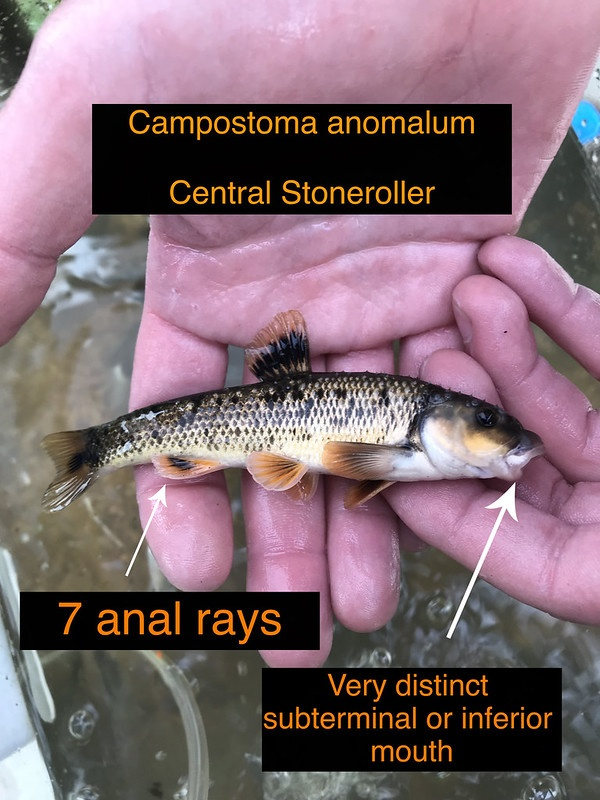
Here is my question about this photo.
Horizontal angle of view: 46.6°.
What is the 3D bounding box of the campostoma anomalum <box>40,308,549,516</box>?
[{"bbox_3d":[-0.030,0.042,1.640,1.150,0.217,0.376,-2,98,-7],"label":"campostoma anomalum"}]
